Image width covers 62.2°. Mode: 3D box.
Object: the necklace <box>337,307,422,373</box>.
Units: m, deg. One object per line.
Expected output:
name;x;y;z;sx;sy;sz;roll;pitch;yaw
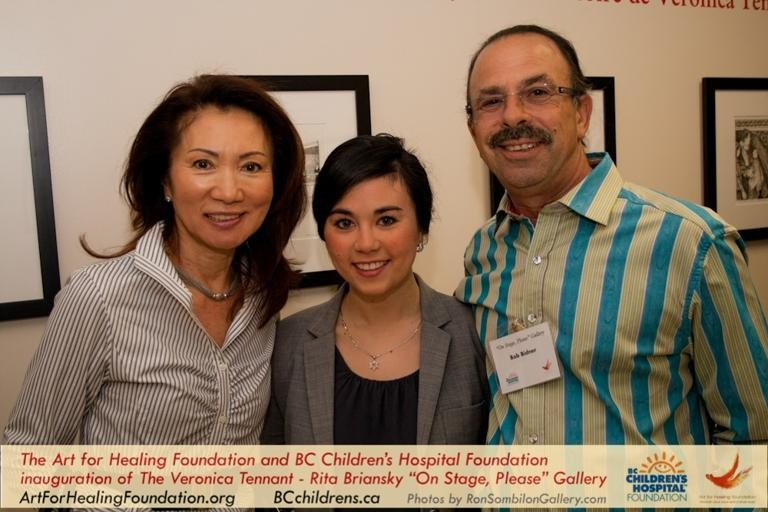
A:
necklace;-0.043;0.413;3.083;0.284;0.259;0.074;3;-14;7
